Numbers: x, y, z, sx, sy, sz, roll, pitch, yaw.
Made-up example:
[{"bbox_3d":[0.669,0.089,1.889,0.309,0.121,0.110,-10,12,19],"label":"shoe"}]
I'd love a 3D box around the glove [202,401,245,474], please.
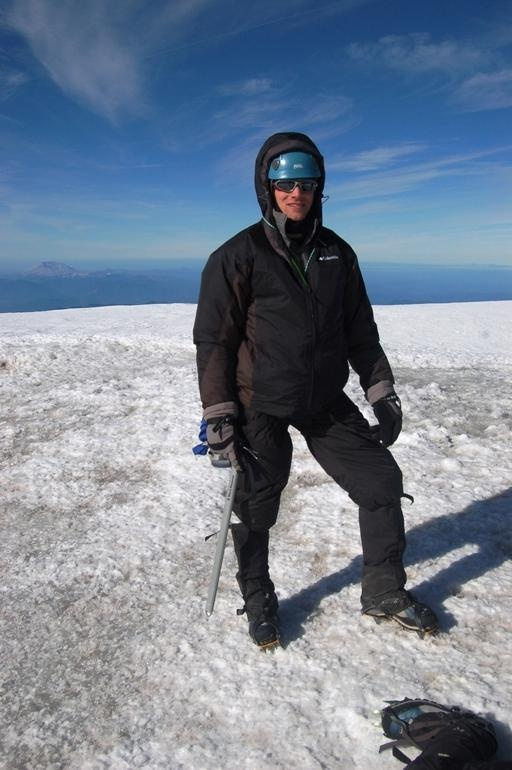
[{"bbox_3d":[-0.153,0.233,2.573,0.192,0.305,0.221,-3,1,8],"label":"glove"}]

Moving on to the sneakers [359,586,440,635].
[{"bbox_3d":[0.685,1.060,2.648,0.344,0.142,0.168,1,-8,43],"label":"sneakers"}]

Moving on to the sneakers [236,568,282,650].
[{"bbox_3d":[0.020,1.076,2.687,0.131,0.163,0.370,-5,44,-3],"label":"sneakers"}]

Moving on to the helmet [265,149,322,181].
[{"bbox_3d":[0.167,-0.970,2.442,0.218,0.136,0.139,-2,9,-4],"label":"helmet"}]

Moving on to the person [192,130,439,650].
[{"bbox_3d":[0.232,0.024,2.587,1.027,2.355,0.597,-2,9,-7],"label":"person"}]

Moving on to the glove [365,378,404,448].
[{"bbox_3d":[0.654,0.103,2.791,0.165,0.113,0.280,-19,26,31],"label":"glove"}]
